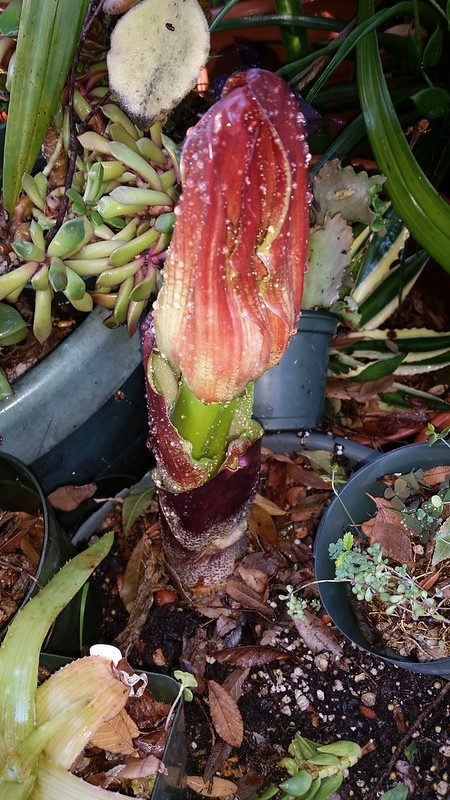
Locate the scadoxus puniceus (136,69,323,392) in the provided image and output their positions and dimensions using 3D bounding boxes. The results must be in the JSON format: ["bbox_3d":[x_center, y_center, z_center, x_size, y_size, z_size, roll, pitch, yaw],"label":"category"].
[{"bbox_3d":[0.001,-0.074,0.287,0.072,0.158,0.064,-25,56,-20],"label":"scadoxus puniceus"}]

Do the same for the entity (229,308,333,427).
[{"bbox_3d":[0.056,-0.039,0.779,0.122,0.132,0.125,2,36,-1],"label":"entity"}]
